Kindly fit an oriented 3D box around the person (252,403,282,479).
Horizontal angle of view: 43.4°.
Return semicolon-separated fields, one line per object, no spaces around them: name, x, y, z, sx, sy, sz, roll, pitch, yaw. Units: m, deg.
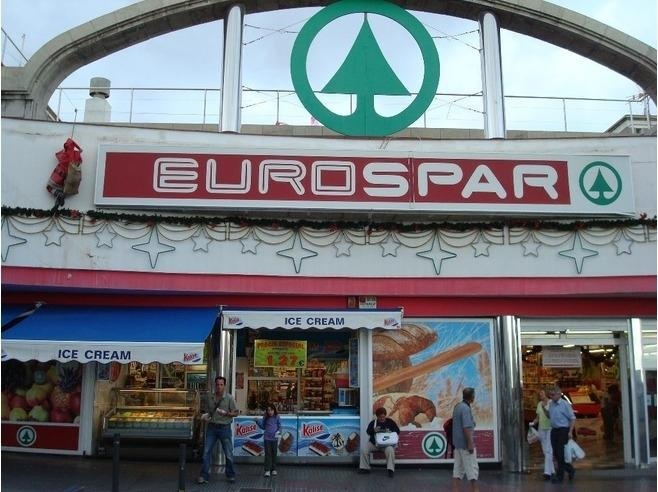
person;-1.431;4.493;19.103;0.607;1.447;0.510;6;-5;-8

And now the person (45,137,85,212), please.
person;-6.319;-1.709;19.677;0.748;1.717;0.367;-3;-15;9

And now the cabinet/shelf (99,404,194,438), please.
cabinet/shelf;-4.522;4.446;20.714;2.235;0.866;0.946;2;-15;-14

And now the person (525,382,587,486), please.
person;5.176;4.362;19.079;1.029;2.402;0.946;1;-4;4
